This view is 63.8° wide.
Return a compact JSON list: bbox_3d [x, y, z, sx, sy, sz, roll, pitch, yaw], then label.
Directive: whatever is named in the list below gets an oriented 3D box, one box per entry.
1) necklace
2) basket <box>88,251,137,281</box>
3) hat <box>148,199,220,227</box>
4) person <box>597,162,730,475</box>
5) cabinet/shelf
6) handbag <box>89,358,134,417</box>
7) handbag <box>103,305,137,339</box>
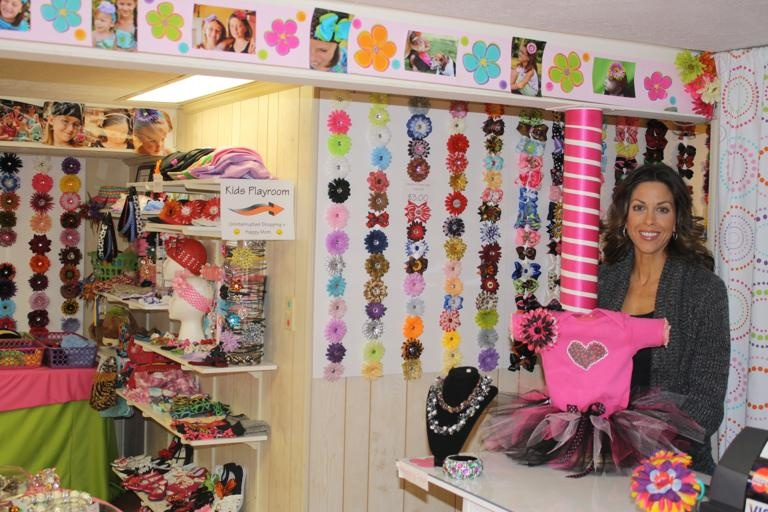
[{"bbox_3d":[0.375,0.746,3.079,0.323,0.277,0.128,0,-3,6],"label":"necklace"},{"bbox_3d":[-2.382,0.119,5.455,0.337,0.209,0.324,1,0,-5],"label":"basket"},{"bbox_3d":[-1.342,-0.303,4.234,0.283,0.101,0.356,0,0,1],"label":"hat"},{"bbox_3d":[1.624,0.456,3.653,0.503,1.817,0.809,-16,17,-31],"label":"person"},{"bbox_3d":[-1.257,0.613,4.206,0.727,2.284,1.480,2,-4,-34],"label":"cabinet/shelf"},{"bbox_3d":[-2.106,1.029,4.844,0.341,0.419,0.160,-2,-5,21],"label":"handbag"},{"bbox_3d":[-2.316,0.566,5.352,0.355,0.322,0.332,0,-3,-18],"label":"handbag"}]
